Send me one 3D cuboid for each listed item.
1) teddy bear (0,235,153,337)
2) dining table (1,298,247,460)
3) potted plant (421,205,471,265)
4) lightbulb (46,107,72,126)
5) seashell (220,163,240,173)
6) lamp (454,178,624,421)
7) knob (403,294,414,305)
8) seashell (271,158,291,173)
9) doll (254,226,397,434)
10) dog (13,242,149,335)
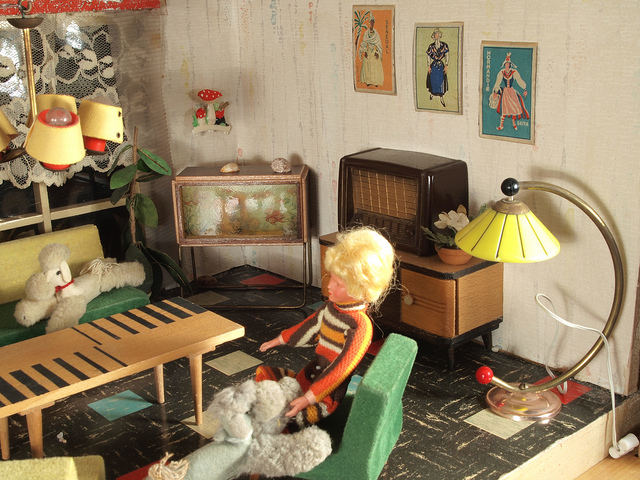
[{"bbox_3d":[-1.702,0.240,3.560,0.501,0.427,0.935,13,23,35],"label":"teddy bear"},{"bbox_3d":[-1.160,0.752,2.815,1.177,0.418,0.679,-14,22,-38],"label":"dining table"},{"bbox_3d":[0.946,-0.055,3.438,0.380,0.340,0.364,-6,14,-20],"label":"potted plant"},{"bbox_3d":[-0.943,-0.439,1.774,0.074,0.066,0.071,1,-12,-33],"label":"lightbulb"},{"bbox_3d":[-0.772,-0.629,4.263,0.111,0.038,0.087,7,21,26],"label":"seashell"},{"bbox_3d":[1.226,0.341,2.812,0.911,1.416,0.395,-6,19,-19],"label":"lamp"},{"bbox_3d":[0.623,0.415,3.407,0.077,0.073,0.025,9,15,43],"label":"knob"},{"bbox_3d":[-0.333,-0.641,4.206,0.154,0.103,0.109,4,34,14],"label":"seashell"},{"bbox_3d":[-0.022,0.381,2.310,0.587,0.858,0.517,-14,23,-37],"label":"doll"},{"bbox_3d":[-1.767,0.245,3.705,0.521,0.488,1.059,9,17,7],"label":"dog"}]
